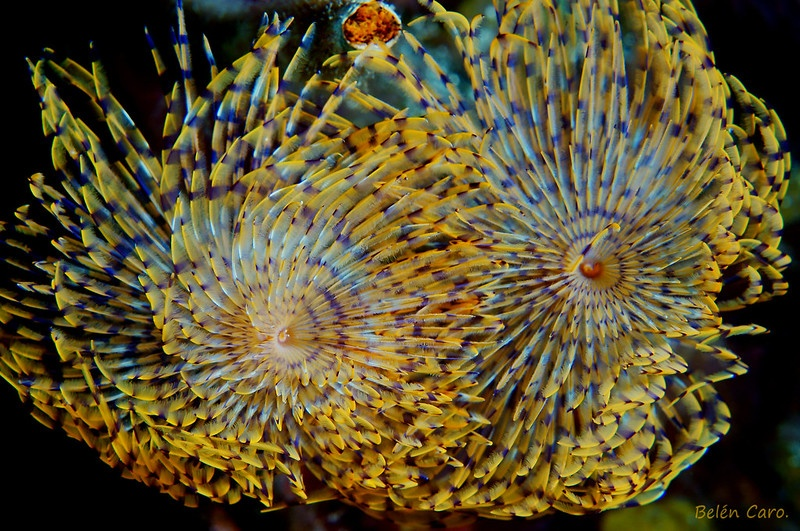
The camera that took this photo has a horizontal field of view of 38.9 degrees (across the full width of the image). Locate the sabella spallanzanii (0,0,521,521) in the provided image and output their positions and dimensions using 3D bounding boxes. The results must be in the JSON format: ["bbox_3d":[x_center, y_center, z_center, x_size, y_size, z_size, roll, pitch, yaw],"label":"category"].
[{"bbox_3d":[-0.276,-0.028,2.171,0.917,0.357,0.848,-3,89,-4],"label":"sabella spallanzanii"}]
